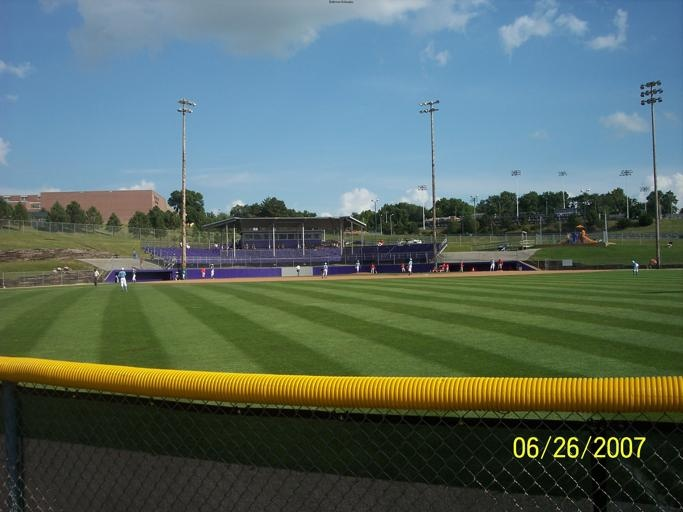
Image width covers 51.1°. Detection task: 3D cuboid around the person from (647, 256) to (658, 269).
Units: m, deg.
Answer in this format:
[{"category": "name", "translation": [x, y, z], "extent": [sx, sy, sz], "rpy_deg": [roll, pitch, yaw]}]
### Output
[{"category": "person", "translation": [22.213, 0.544, 51.026], "extent": [0.788, 0.410, 0.627], "rpy_deg": [-16, 18, -8]}]
